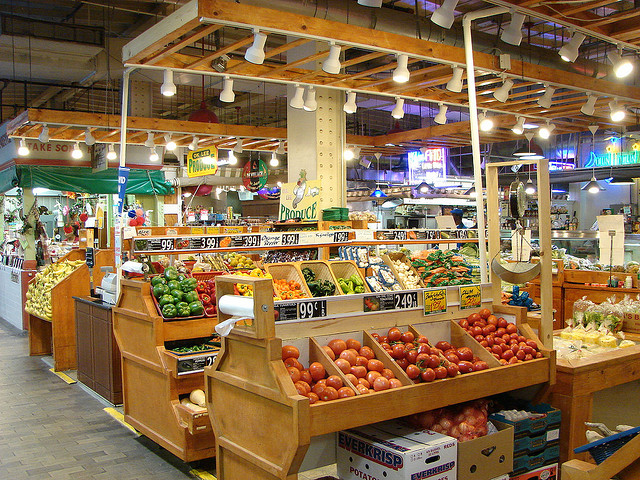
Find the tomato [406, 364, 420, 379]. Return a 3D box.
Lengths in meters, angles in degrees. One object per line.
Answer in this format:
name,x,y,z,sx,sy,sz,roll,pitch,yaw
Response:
tomato,0.699,0.983,3.568,0.095,0.091,0.091,-25,36,19

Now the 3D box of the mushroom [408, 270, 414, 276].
mushroom,0.953,0.344,4.995,0.067,0.044,0.069,-11,9,-25

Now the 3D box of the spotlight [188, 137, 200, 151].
spotlight,-3.097,-2.355,11.574,0.173,0.150,0.294,29,-25,-13

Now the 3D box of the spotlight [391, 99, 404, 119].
spotlight,1.230,-2.065,7.456,0.167,0.269,0.497,-7,8,10

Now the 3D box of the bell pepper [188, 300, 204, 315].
bell pepper,-1.331,0.737,5.170,0.143,0.138,0.178,10,-47,-47

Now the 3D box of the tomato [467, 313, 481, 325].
tomato,1.431,0.729,4.374,0.110,0.058,0.078,-21,2,-15

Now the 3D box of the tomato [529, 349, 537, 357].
tomato,1.878,0.992,4.136,0.083,0.059,0.024,-13,9,-36

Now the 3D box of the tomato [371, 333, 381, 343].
tomato,0.460,0.787,3.807,0.058,0.051,0.054,8,14,0

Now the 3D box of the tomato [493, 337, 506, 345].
tomato,1.566,0.879,4.134,0.071,0.035,0.052,1,14,9

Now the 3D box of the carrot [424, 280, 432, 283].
carrot,1.149,0.439,5.000,0.078,0.024,0.055,-6,8,13

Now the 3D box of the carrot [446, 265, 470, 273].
carrot,1.473,0.323,5.053,0.282,0.085,0.095,-12,9,-29

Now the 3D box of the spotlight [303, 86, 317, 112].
spotlight,-0.168,-2.129,7.145,0.206,0.359,0.486,-8,8,1

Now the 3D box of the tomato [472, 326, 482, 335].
tomato,1.414,0.809,4.251,0.065,0.062,0.066,-45,22,-27

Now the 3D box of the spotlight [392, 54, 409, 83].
spotlight,1.022,-2.134,5.933,0.193,0.329,0.373,-6,8,15

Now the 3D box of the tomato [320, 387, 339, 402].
tomato,0.060,1.031,3.219,0.081,0.082,0.082,-48,-17,28

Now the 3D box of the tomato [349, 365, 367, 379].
tomato,0.287,0.961,3.455,0.105,0.083,0.077,0,0,0

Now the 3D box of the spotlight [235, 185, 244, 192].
spotlight,-3.291,-2.121,19.416,0.378,0.189,0.250,1,-8,-29

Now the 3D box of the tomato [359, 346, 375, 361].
tomato,0.370,0.868,3.654,0.084,0.081,0.084,43,14,25

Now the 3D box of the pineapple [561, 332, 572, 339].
pineapple,2.667,1.029,5.115,0.101,0.052,0.085,-2,10,37

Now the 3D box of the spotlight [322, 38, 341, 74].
spotlight,0.134,-2.166,5.616,0.230,0.365,0.339,-8,8,4

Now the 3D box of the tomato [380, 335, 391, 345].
tomato,0.534,0.809,3.823,0.059,0.056,0.057,-27,-20,24

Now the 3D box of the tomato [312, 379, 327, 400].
tomato,-0.004,1.006,3.228,0.097,0.087,0.094,8,-7,-31

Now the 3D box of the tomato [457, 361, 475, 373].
tomato,1.185,1.019,3.798,0.149,0.090,0.104,-8,8,-2

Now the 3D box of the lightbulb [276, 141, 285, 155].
lightbulb,-1.009,-2.355,12.152,0.232,0.237,0.233,21,26,34

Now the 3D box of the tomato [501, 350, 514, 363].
tomato,1.601,0.986,4.021,0.093,0.067,0.053,-39,-21,-12

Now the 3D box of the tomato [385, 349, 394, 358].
tomato,0.542,0.875,3.641,0.047,0.042,0.046,3,8,17

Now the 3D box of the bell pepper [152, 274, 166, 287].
bell pepper,-1.793,0.440,5.255,0.094,0.104,0.094,15,13,30

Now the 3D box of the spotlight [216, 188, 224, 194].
spotlight,-3.994,-1.976,18.884,0.293,0.199,0.282,2,-2,-31

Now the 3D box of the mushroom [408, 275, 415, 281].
mushroom,0.950,0.396,4.905,0.061,0.048,0.084,-2,10,37

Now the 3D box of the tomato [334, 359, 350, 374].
tomato,0.161,0.920,3.470,0.091,0.100,0.085,-3,38,-10

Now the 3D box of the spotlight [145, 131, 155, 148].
spotlight,-3.787,-2.227,10.453,0.176,0.335,0.506,-12,9,-25

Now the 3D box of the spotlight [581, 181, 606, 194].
spotlight,7.276,-1.425,12.860,0.700,0.318,0.680,2,1,-39

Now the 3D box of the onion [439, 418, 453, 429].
onion,0.976,1.409,3.641,0.077,0.020,0.072,1,0,-44

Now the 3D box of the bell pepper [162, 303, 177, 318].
bell pepper,-1.577,0.736,4.939,0.136,0.128,0.132,4,1,-6

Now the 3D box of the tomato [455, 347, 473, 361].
tomato,1.205,0.935,3.912,0.101,0.097,0.109,21,28,37

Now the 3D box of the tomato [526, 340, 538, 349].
tomato,1.884,0.919,4.186,0.075,0.062,0.070,-2,21,8

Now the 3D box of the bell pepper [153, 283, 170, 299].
bell pepper,-1.727,0.533,5.144,0.156,0.148,0.156,-6,45,-39

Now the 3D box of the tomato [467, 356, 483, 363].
tomato,1.314,1.004,3.976,0.073,0.066,0.070,1,5,8

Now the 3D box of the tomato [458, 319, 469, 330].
tomato,1.309,0.774,4.312,0.076,0.086,0.074,6,6,26

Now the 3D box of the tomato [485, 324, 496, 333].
tomato,1.558,0.799,4.276,0.068,0.037,0.066,-9,13,-43

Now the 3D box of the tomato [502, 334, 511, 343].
tomato,1.660,0.871,4.206,0.064,0.059,0.073,-6,-18,-29

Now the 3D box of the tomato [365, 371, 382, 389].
tomato,0.374,0.996,3.392,0.111,0.120,0.104,-1,-23,2

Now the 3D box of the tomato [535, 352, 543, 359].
tomato,1.933,1.013,4.151,0.048,0.043,0.046,-1,2,3

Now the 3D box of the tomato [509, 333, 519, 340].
tomato,1.752,0.864,4.252,0.050,0.046,0.046,-3,45,-34

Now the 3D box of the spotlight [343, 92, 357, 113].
spotlight,0.481,-2.160,7.481,0.194,0.312,0.628,-8,8,7

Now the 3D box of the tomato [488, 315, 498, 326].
tomato,1.606,0.749,4.399,0.086,0.090,0.079,1,13,-26

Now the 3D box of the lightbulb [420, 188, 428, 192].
lightbulb,3.431,-1.627,15.471,0.214,0.149,0.276,-4,9,27

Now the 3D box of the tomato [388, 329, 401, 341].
tomato,0.616,0.780,3.884,0.088,0.078,0.081,-1,31,-9

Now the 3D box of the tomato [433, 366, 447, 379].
tomato,0.922,1.004,3.595,0.091,0.083,0.086,1,1,15

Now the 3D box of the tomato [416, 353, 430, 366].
tomato,0.784,0.906,3.585,0.089,0.081,0.101,-4,-10,8

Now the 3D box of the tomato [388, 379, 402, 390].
tomato,0.542,1.038,3.423,0.061,0.069,0.058,-22,54,-25

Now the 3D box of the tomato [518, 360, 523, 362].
tomato,1.714,1.031,4.037,0.029,0.015,0.055,-4,8,24
